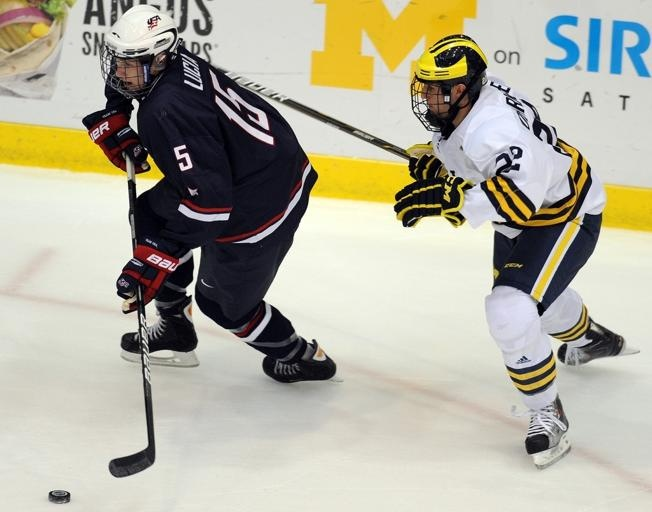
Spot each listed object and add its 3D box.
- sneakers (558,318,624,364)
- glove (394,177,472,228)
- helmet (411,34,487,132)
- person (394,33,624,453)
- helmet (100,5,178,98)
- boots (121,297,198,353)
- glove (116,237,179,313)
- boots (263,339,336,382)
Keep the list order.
[{"bbox_3d":[1.145,0.378,3.305,0.298,0.187,0.091,-13,49,22],"label":"sneakers"},{"bbox_3d":[0.397,-0.198,2.749,0.281,0.154,0.115,2,13,41],"label":"glove"},{"bbox_3d":[0.453,-0.648,2.817,0.312,0.312,0.241,-2,27,12],"label":"helmet"},{"bbox_3d":[0.682,-0.061,2.835,0.914,1.417,0.553,24,31,35],"label":"person"},{"bbox_3d":[-0.649,-0.694,2.603,0.274,0.316,0.233,4,24,-2],"label":"helmet"},{"bbox_3d":[-0.704,0.313,3.266,0.392,0.239,0.134,-11,-2,24],"label":"boots"},{"bbox_3d":[-0.612,0.061,2.618,0.165,0.273,0.112,44,3,24],"label":"glove"},{"bbox_3d":[-0.086,0.432,3.159,0.388,0.116,0.182,0,-20,3],"label":"boots"}]
